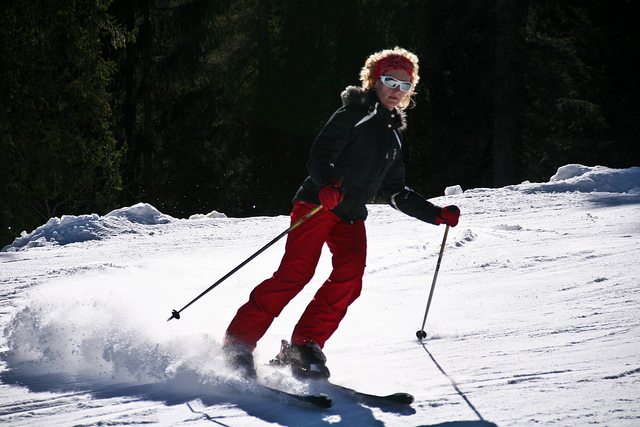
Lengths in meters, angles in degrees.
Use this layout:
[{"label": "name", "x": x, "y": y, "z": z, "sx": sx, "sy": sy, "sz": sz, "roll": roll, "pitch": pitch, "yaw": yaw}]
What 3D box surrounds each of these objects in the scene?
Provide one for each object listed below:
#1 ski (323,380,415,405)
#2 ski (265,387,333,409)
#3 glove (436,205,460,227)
[{"label": "ski", "x": 0.509, "y": 1.968, "z": 7.933, "sx": 0.995, "sy": 0.110, "sz": 0.117, "roll": 9, "pitch": 5, "yaw": 14}, {"label": "ski", "x": -0.225, "y": 1.960, "z": 7.835, "sx": 0.710, "sy": 0.180, "sz": 0.144, "roll": 12, "pitch": 23, "yaw": 19}, {"label": "glove", "x": 1.503, "y": 0.017, "z": 8.612, "sx": 0.265, "sy": 0.208, "sz": 0.125, "roll": -39, "pitch": -5, "yaw": 27}]
